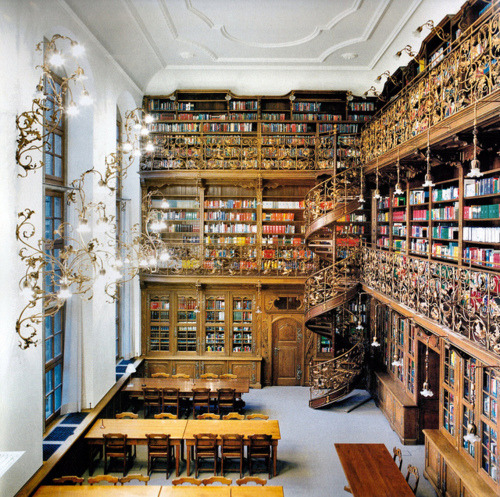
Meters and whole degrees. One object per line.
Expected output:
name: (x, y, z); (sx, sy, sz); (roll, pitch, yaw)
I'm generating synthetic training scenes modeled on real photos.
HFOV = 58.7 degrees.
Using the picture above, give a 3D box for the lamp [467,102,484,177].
lamp: (2.567, -1.231, 5.097); (0.155, 0.800, 0.164); (-2, 2, -29)

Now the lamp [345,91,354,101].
lamp: (2.544, -3.885, 11.423); (0.181, 0.422, 0.225); (1, 2, 25)

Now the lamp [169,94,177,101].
lamp: (-2.001, -3.938, 11.590); (0.167, 0.154, 0.093); (0, 3, -4)

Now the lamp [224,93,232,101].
lamp: (-0.562, -3.916, 11.529); (0.044, 0.178, 0.168); (-5, 18, -41)

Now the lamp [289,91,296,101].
lamp: (1.079, -3.947, 11.500); (0.153, 0.350, 0.164); (0, 1, -1)
